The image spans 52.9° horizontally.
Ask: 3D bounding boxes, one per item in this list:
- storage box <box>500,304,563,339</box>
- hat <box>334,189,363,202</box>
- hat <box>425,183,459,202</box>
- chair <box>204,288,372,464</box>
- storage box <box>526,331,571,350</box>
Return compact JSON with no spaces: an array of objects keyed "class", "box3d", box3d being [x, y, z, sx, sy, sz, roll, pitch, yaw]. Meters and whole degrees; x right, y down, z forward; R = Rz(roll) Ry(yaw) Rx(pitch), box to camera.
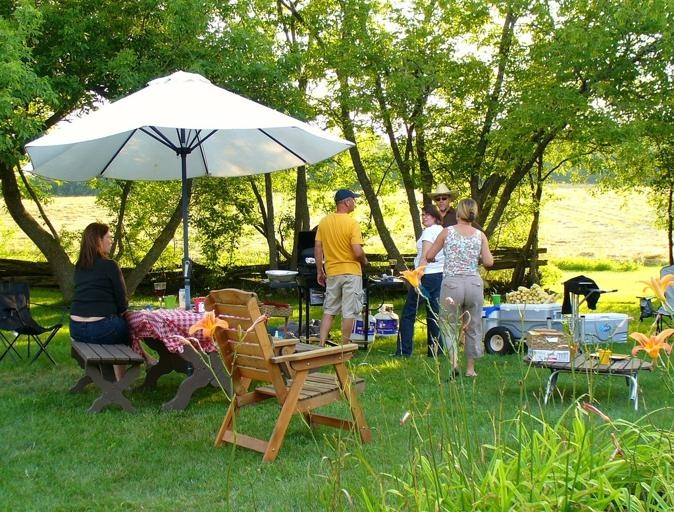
[{"class":"storage box","box3d":[2.429,0.809,8.383,0.871,0.627,0.627,0,-2,15]},{"class":"hat","box3d":[0.126,-0.763,8.515,0.287,0.157,0.203,-9,10,-18]},{"class":"hat","box3d":[1.407,-0.912,8.947,0.349,0.177,0.442,-3,-9,16]},{"class":"chair","box3d":[-0.310,0.995,6.200,1.517,1.648,1.154,-3,3,-42]},{"class":"storage box","box3d":[2.166,0.863,6.998,0.399,0.188,0.199,1,3,15]}]
